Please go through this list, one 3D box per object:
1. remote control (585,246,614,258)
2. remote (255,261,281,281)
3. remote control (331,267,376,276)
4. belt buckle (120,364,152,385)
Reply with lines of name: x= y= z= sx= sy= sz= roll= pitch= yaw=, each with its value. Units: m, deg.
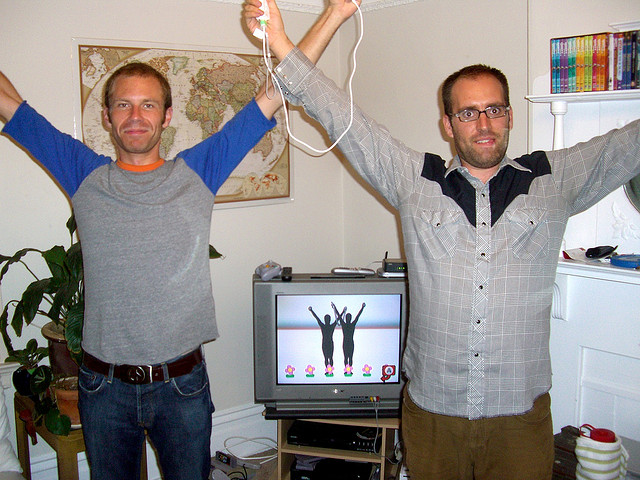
remote control: x=1.364 y=0.044 z=2.722 sx=0.102 sy=0.039 sz=0.055 roll=-9 pitch=12 yaw=-32
remote: x=-0.277 y=0.158 z=3.019 sx=0.097 sy=0.034 sz=0.098 roll=-24 pitch=28 yaw=-20
remote control: x=0.186 y=0.166 z=3.055 sx=0.160 sy=0.035 sz=0.086 roll=2 pitch=2 yaw=-2
belt buckle: x=-0.673 y=0.499 z=2.049 sx=0.079 sy=0.043 sz=0.082 roll=2 pitch=3 yaw=-11
